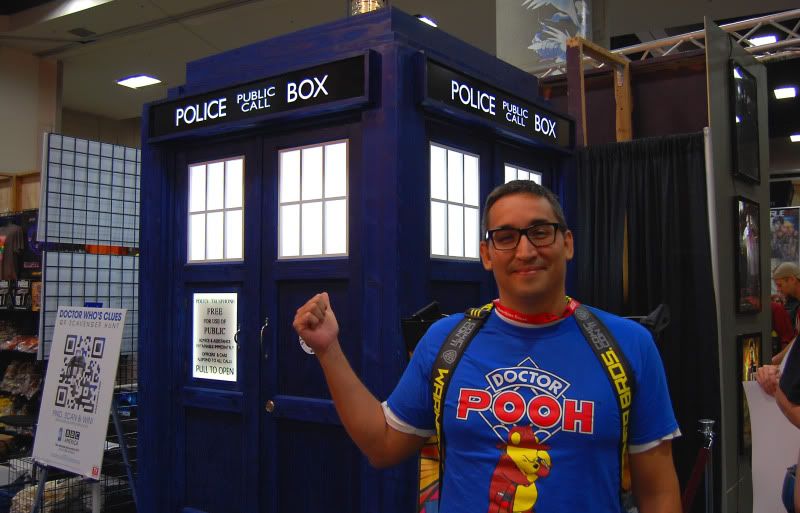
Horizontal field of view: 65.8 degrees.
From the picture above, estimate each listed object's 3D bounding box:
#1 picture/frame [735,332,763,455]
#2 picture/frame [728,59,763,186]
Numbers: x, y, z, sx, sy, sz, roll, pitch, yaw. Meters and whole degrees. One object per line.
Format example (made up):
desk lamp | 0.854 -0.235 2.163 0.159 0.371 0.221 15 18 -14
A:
picture/frame | 2.902 1.175 5.139 0.046 1.105 0.962 -3 -7 34
picture/frame | 3.096 -1.173 5.530 0.223 1.005 0.769 -8 -9 35
